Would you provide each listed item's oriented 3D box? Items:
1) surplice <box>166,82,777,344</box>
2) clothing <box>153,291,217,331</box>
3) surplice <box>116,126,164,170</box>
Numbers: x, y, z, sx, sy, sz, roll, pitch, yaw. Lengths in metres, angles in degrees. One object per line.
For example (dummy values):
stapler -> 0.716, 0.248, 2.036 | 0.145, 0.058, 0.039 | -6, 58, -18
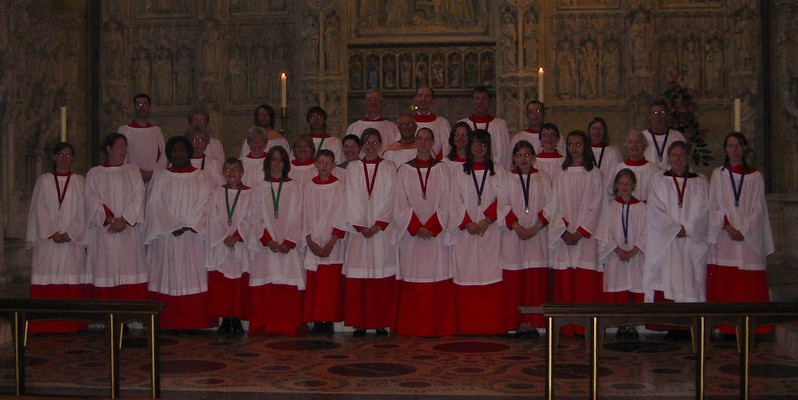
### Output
surplice -> 1.382, 0.376, 18.101 | 5.891, 4.167, 1.116 | -1, -5, 5
clothing -> -3.669, 1.874, 17.629 | 0.992, 0.564, 0.101 | -1, -4, -4
surplice -> -4.767, -0.943, 18.874 | 0.992, 0.865, 0.389 | -1, 2, -19
